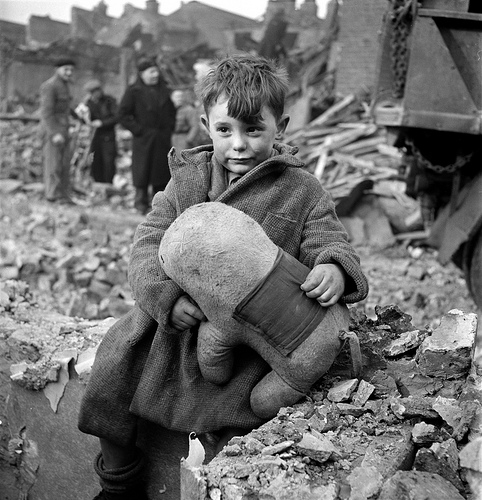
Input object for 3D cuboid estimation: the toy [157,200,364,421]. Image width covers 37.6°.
[{"bbox_3d":[0.021,0.154,2.284,0.674,0.364,0.494,40,50,19],"label":"toy"}]
